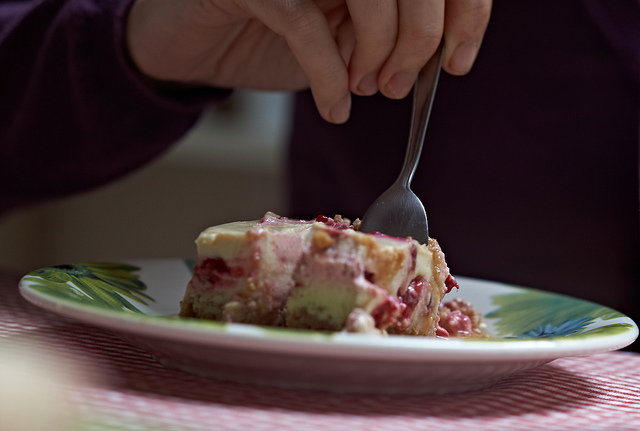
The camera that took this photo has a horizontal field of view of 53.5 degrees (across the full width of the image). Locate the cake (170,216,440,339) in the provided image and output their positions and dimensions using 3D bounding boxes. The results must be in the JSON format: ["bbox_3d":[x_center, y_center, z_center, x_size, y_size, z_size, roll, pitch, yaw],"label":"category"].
[{"bbox_3d":[-0.023,0.104,1.046,0.277,0.238,0.105,3,88,13],"label":"cake"}]
